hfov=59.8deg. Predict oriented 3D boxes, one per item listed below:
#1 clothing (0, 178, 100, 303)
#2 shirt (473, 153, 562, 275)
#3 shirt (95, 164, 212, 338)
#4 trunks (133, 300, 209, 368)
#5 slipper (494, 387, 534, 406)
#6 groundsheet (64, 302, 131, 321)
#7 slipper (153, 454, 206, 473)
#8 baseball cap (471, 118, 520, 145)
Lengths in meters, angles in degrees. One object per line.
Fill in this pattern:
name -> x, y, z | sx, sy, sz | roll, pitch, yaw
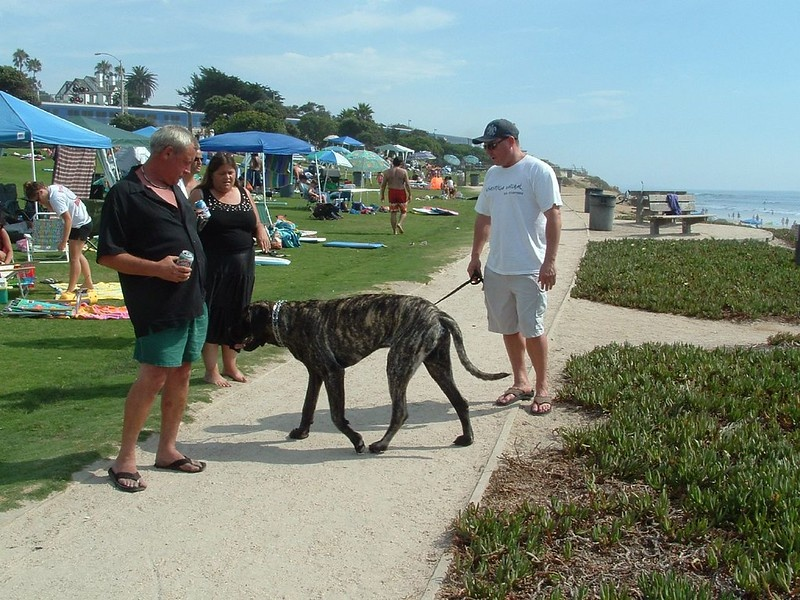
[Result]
clothing -> -5.625, -1.010, 11.605 | 0.957, 1.848, 2.350 | -4, 13, -25
shirt -> 1.187, -0.875, 7.098 | 0.878, 1.181, 0.408 | 11, 15, 38
shirt -> -1.991, -0.415, 5.688 | 0.707, 1.228, 1.134 | 4, 9, 15
trunks -> -1.802, 0.249, 5.668 | 0.294, 0.452, 0.501 | 12, 9, 30
slipper -> 1.232, 0.998, 7.400 | 0.437, 0.123, 0.173 | -1, 1, -20
groundsheet -> -4.610, 0.172, 10.652 | 0.795, 0.126, 0.793 | 4, 12, -2
slipper -> -1.858, 1.365, 5.887 | 0.327, 0.083, 0.164 | 0, 9, 5
baseball cap -> 0.969, -1.669, 6.920 | 0.395, 0.230, 0.288 | 2, 12, 6
